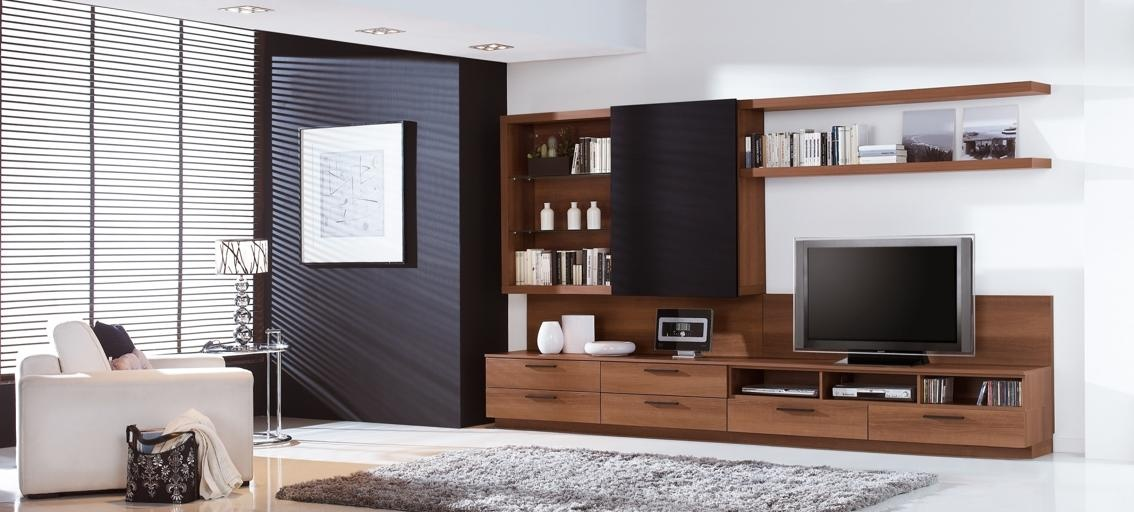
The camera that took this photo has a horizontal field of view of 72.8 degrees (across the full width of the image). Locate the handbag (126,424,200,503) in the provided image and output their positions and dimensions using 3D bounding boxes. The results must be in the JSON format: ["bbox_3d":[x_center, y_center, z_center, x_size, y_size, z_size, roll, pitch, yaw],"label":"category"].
[{"bbox_3d":[-3.548,1.876,7.046,0.903,0.545,0.635,0,-2,4],"label":"handbag"}]

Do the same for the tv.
[{"bbox_3d":[3.447,0.457,8.171,2.179,0.999,0.442,-1,-3,15],"label":"tv"}]

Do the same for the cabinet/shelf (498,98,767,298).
[{"bbox_3d":[0.849,-0.639,8.811,3.633,1.788,1.021,-1,-4,22],"label":"cabinet/shelf"}]

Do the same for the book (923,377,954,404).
[{"bbox_3d":[3.777,1.341,7.946,0.335,0.291,0.406,-1,-1,30],"label":"book"}]
